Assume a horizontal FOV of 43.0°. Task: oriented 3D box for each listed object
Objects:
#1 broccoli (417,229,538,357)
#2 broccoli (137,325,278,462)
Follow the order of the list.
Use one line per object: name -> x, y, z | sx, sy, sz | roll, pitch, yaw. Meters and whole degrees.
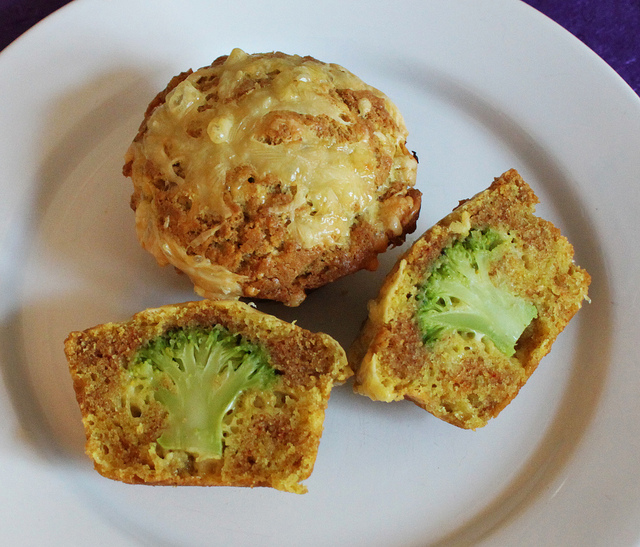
broccoli -> 0.692, 0.113, 3.852 | 0.532, 0.567, 0.188 | 30, -8, -3
broccoli -> -0.572, 0.481, 4.013 | 0.720, 0.589, 0.675 | -8, 31, -18
